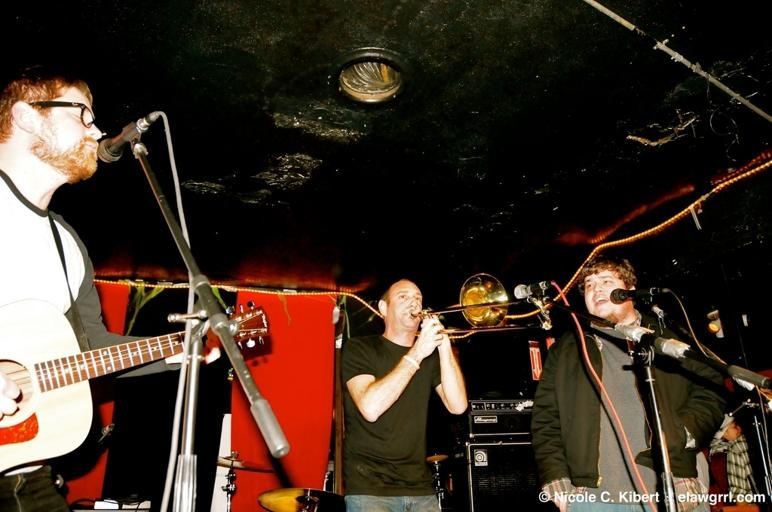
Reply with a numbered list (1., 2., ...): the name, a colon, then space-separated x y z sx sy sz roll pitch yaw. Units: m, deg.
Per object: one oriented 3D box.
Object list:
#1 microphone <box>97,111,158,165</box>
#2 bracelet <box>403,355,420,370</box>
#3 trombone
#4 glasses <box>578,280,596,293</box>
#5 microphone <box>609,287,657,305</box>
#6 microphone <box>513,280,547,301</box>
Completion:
1. microphone: -1.956 -0.927 5.020 0.243 0.259 0.615 18 -31 -41
2. bracelet: 0.218 0.924 5.814 0.127 0.045 0.096 42 -9 -12
3. trombone: 0.696 0.684 7.525 0.551 0.552 1.521 8 -20 -22
4. glasses: 1.897 0.289 6.256 0.112 0.083 0.101 10 -13 -27
5. microphone: 1.910 0.318 5.145 0.117 0.110 0.367 4 -10 -17
6. microphone: 1.188 0.286 5.456 0.273 0.193 0.186 -8 -23 12
